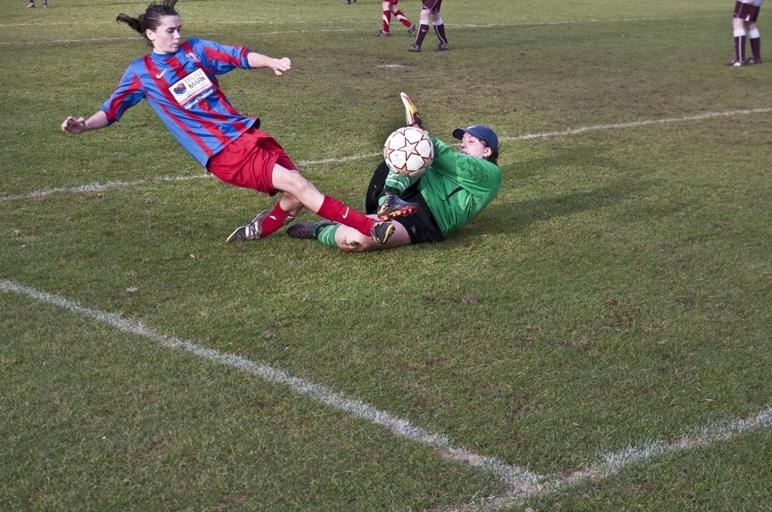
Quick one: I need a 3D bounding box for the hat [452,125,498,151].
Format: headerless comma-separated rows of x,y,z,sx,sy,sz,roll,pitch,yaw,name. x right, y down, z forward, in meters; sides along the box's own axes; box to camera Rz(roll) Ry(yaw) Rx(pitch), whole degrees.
0.832,-1.080,6.197,0.373,0.160,0.232,18,7,-19,hat

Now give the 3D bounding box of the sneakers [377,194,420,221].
0.084,-0.403,5.672,0.300,0.177,0.329,-2,20,-2,sneakers

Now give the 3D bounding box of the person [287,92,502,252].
0.111,-0.723,6.266,2.149,1.195,0.828,-4,15,-6,person

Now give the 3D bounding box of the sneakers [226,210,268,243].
-1.222,-0.253,6.189,0.340,0.108,0.130,-33,33,-11,sneakers

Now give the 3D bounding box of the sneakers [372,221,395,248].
-0.024,-0.187,5.637,0.238,0.234,0.517,-5,1,-4,sneakers

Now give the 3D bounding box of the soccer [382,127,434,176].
0.179,-0.882,5.852,0.385,0.330,0.274,-23,-13,-15,soccer

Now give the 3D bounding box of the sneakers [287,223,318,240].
-0.714,-0.221,6.196,0.323,0.102,0.133,6,-22,10,sneakers
